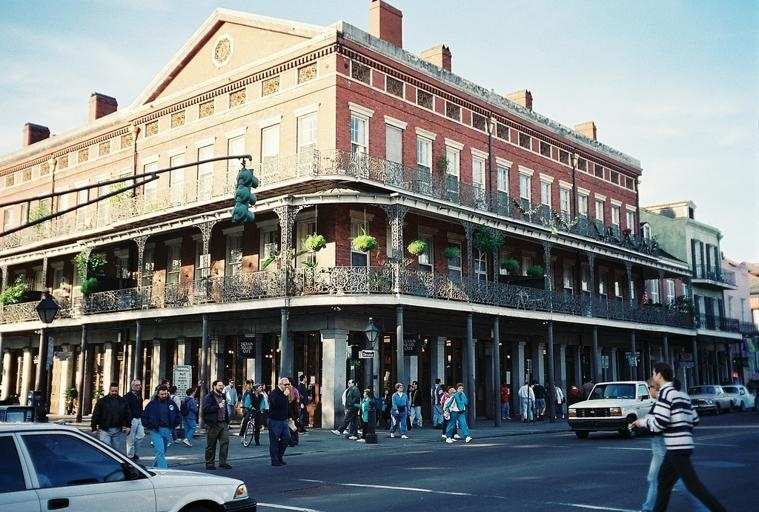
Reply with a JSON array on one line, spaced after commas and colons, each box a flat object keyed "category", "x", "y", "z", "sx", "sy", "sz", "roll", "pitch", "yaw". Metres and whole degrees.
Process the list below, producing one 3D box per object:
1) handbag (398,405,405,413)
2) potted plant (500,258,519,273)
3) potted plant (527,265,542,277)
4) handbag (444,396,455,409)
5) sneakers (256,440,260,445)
[{"category": "handbag", "x": 0.854, "y": 5.712, "z": 27.764, "sx": 0.273, "sy": 0.210, "sz": 0.153, "roll": 1, "pitch": -11, "yaw": -8}, {"category": "potted plant", "x": 6.143, "y": 0.551, "z": 35.378, "sx": 0.799, "sy": 0.846, "sz": 0.832, "roll": 5, "pitch": 17, "yaw": 22}, {"category": "potted plant", "x": 7.755, "y": 0.811, "z": 37.010, "sx": 0.580, "sy": 0.614, "sz": 0.589, "roll": 9, "pitch": -28, "yaw": -16}, {"category": "handbag", "x": 2.511, "y": 5.219, "z": 26.504, "sx": 0.216, "sy": 0.399, "sz": 0.399, "roll": 11, "pitch": -18, "yaw": -20}, {"category": "sneakers", "x": -4.100, "y": 6.330, "z": 25.162, "sx": 0.109, "sy": 0.122, "sz": 0.105, "roll": 2, "pitch": -7, "yaw": -18}]
